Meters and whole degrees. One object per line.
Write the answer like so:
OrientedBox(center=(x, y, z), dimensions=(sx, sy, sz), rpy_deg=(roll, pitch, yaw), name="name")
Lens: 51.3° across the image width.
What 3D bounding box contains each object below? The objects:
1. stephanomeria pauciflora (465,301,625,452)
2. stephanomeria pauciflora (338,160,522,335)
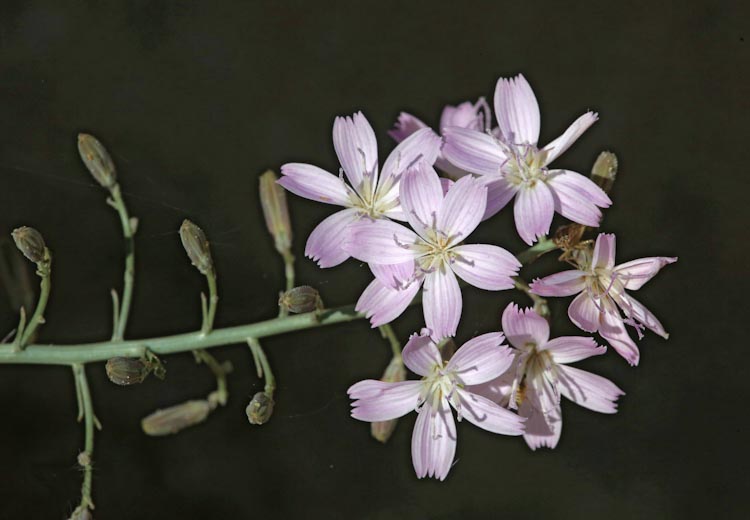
OrientedBox(center=(0.827, 0.549, 4.025), dimensions=(0.698, 0.723, 0.352), rpy_deg=(-37, 12, 1), name="stephanomeria pauciflora")
OrientedBox(center=(0.266, -0.039, 3.741), dimensions=(0.819, 0.759, 0.381), rpy_deg=(-4, 27, -4), name="stephanomeria pauciflora")
